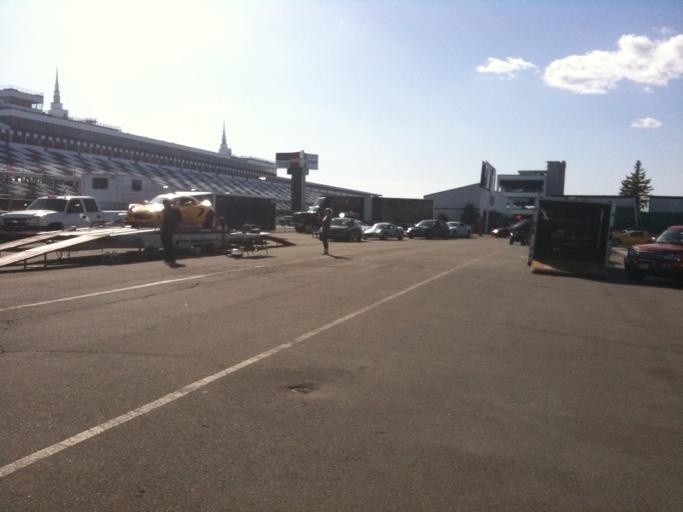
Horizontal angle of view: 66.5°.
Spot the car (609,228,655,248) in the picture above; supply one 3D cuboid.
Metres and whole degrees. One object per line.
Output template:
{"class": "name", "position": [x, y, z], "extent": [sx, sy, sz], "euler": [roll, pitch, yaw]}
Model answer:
{"class": "car", "position": [18.414, -1.187, 33.075], "extent": [2.343, 1.191, 1.396], "euler": [0, 3, 26]}

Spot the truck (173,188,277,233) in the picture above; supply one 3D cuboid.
{"class": "truck", "position": [-7.245, -2.936, 33.141], "extent": [2.448, 3.116, 8.288], "euler": [-2, 0, 28]}

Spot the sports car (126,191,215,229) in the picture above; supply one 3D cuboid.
{"class": "sports car", "position": [-7.019, -1.917, 21.462], "extent": [2.090, 1.479, 3.102], "euler": [-2, -1, 35]}
